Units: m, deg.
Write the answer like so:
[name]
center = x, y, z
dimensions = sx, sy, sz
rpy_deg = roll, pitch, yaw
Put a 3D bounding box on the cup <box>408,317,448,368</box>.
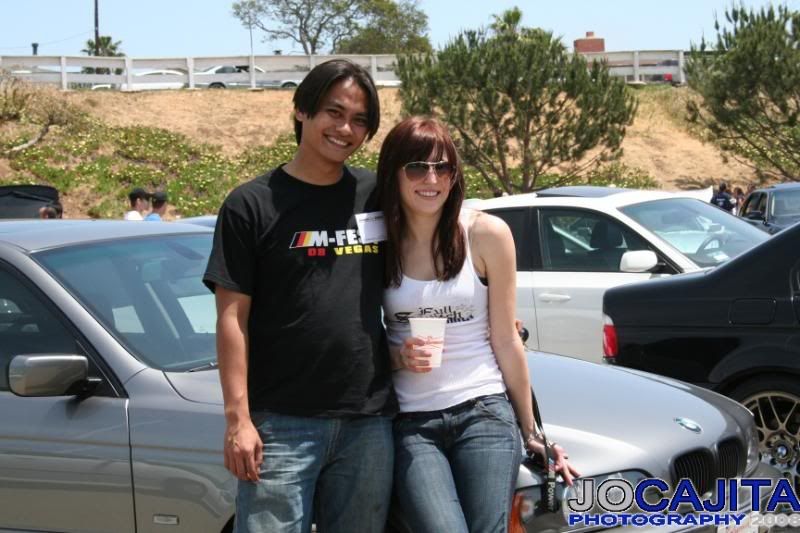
[cup]
center = 0.143, 0.353, 4.021
dimensions = 0.256, 0.269, 0.257
rpy_deg = -2, 0, 0
